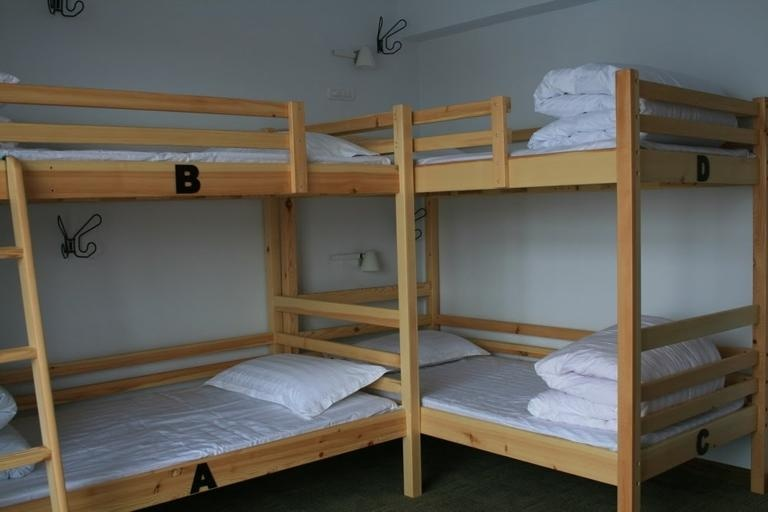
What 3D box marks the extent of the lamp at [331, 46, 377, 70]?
[{"bbox_3d":[-0.240,-1.587,4.694,0.346,0.127,0.160,-2,8,5],"label":"lamp"}]
